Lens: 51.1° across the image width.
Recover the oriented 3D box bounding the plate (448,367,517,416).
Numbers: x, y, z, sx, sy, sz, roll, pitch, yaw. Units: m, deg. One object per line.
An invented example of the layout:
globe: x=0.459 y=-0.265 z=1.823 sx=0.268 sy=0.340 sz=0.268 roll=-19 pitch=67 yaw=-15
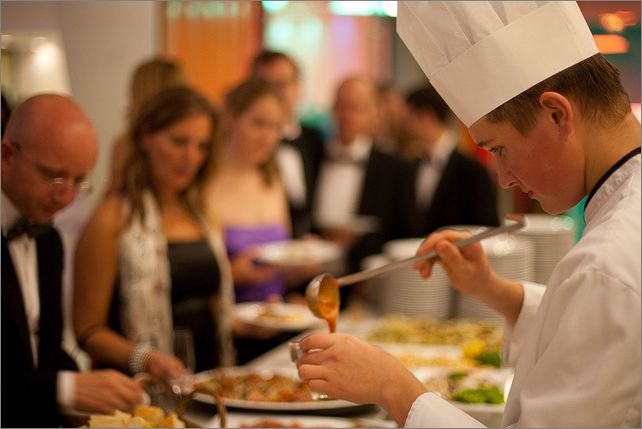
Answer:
plate: x=0.638 y=0.674 z=2.568 sx=0.182 sy=0.066 sz=0.193 roll=-3 pitch=14 yaw=10

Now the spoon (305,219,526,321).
spoon: x=0.433 y=0.278 z=3.183 sx=0.816 sy=0.194 sz=0.197 roll=-24 pitch=8 yaw=8

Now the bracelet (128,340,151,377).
bracelet: x=-0.684 y=0.556 z=2.578 sx=0.038 sy=0.094 sz=0.098 roll=12 pitch=22 yaw=6

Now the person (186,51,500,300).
person: x=0.380 y=-0.116 z=4.522 sx=1.551 sy=1.563 sz=0.424 roll=-2 pitch=-7 yaw=-13

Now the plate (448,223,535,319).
plate: x=0.902 y=0.315 z=3.503 sx=0.378 sy=0.358 sz=0.500 roll=0 pitch=-2 yaw=9

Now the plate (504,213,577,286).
plate: x=1.310 y=0.169 z=4.028 sx=0.441 sy=0.431 sz=0.575 roll=0 pitch=2 yaw=0

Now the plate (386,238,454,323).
plate: x=0.442 y=0.348 z=3.411 sx=0.370 sy=0.413 sz=0.375 roll=0 pitch=-4 yaw=-1
